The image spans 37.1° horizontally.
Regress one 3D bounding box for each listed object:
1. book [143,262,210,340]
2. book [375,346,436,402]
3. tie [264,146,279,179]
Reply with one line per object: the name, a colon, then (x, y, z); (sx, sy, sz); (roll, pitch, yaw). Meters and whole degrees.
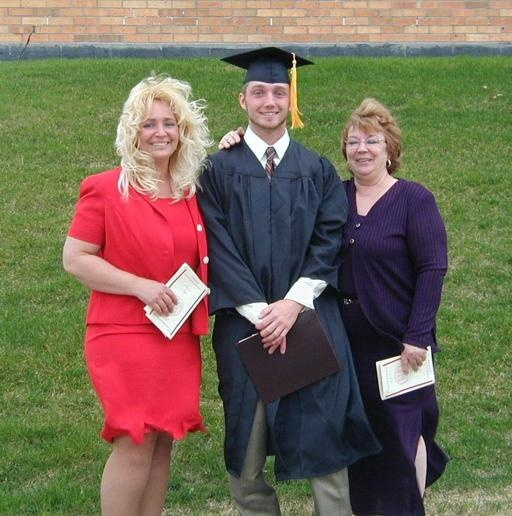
book: (-0.408, 0.243, 4.016); (0.397, 0.294, 0.094); (-48, 9, -12)
book: (0.833, 0.669, 4.192); (0.317, 0.260, 0.099); (-12, 3, -8)
tie: (0.081, -0.555, 4.473); (0.095, 0.170, 0.042); (5, -1, -5)
